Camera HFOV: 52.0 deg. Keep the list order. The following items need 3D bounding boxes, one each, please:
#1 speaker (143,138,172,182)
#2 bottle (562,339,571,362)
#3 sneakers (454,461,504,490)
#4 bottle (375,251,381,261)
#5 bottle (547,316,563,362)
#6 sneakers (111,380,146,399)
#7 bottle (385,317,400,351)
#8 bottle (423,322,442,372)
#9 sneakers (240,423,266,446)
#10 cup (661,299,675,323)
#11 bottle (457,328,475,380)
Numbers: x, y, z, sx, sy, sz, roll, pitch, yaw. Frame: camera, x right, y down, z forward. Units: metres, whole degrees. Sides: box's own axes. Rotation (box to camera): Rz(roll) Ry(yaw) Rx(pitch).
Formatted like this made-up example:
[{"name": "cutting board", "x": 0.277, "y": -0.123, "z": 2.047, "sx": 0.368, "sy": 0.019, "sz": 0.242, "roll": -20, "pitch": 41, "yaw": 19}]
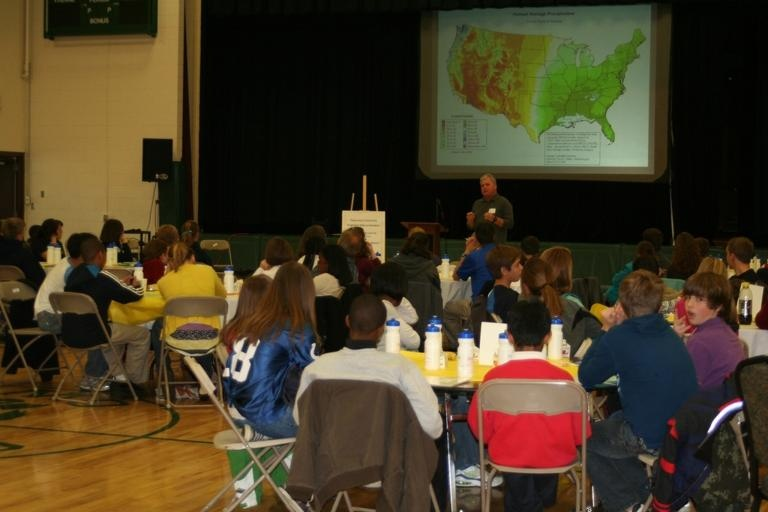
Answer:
[{"name": "speaker", "x": -3.977, "y": -1.645, "z": 13.722, "sx": 0.564, "sy": 0.909, "sz": 0.464, "roll": 2, "pitch": 6, "yaw": 3}, {"name": "bottle", "x": 1.432, "y": 0.730, "z": 6.161, "sx": 0.059, "sy": 0.134, "sz": 0.249, "roll": 1, "pitch": 3, "yaw": 16}, {"name": "sneakers", "x": 0.756, "y": 1.712, "z": 6.259, "sx": 0.478, "sy": 0.230, "sz": 0.180, "roll": -3, "pitch": 16, "yaw": 3}, {"name": "bottle", "x": -0.091, "y": 0.016, "z": 10.758, "sx": 0.076, "sy": 0.085, "sz": 0.124, "roll": 1, "pitch": -3, "yaw": 1}, {"name": "bottle", "x": 1.306, "y": 0.639, "z": 6.017, "sx": 0.102, "sy": 0.325, "sz": 0.225, "roll": 3, "pitch": 4, "yaw": 41}, {"name": "sneakers", "x": -2.796, "y": 1.457, "z": 8.463, "sx": 0.245, "sy": 0.102, "sz": 0.200, "roll": -2, "pitch": 20, "yaw": 2}, {"name": "bottle", "x": 0.058, "y": 0.607, "z": 5.984, "sx": 0.109, "sy": 0.240, "sz": 0.205, "roll": -1, "pitch": 3, "yaw": -4}, {"name": "bottle", "x": 0.364, "y": 0.675, "z": 5.860, "sx": 0.130, "sy": 0.327, "sz": 0.219, "roll": 0, "pitch": 3, "yaw": 4}, {"name": "sneakers", "x": -0.956, "y": 1.283, "z": 5.701, "sx": 0.192, "sy": 0.122, "sz": 0.324, "roll": -1, "pitch": 3, "yaw": -9}, {"name": "cup", "x": 2.519, "y": 0.501, "z": 6.974, "sx": 0.156, "sy": 0.233, "sz": 0.080, "roll": -1, "pitch": -12, "yaw": 7}, {"name": "bottle", "x": 0.582, "y": 0.708, "z": 5.660, "sx": 0.113, "sy": 0.331, "sz": 0.093, "roll": 0, "pitch": 4, "yaw": 1}]
